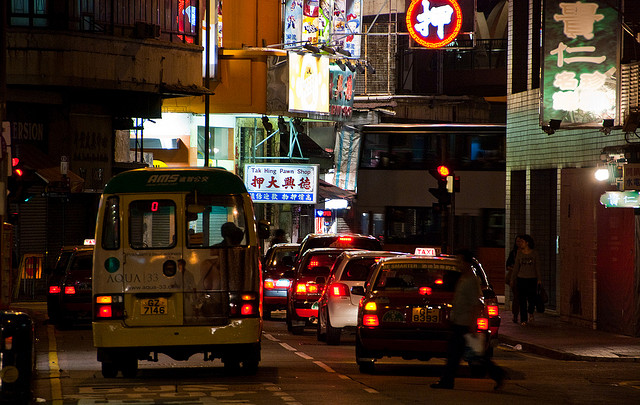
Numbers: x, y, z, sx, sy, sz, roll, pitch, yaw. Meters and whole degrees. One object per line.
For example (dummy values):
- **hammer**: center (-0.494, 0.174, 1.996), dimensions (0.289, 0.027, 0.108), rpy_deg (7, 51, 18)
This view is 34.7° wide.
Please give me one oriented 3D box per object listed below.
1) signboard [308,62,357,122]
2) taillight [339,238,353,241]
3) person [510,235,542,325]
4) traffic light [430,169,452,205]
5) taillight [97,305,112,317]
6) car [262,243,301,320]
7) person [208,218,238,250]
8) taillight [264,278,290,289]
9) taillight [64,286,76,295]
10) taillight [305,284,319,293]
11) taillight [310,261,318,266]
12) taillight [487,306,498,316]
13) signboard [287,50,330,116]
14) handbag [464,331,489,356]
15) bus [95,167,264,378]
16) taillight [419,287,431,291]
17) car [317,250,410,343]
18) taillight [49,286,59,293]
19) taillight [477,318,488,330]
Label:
- **signboard**: center (0.506, -5.547, 51.117), dimensions (1.622, 2.937, 3.044), rpy_deg (0, -2, 22)
- **taillight**: center (0.742, 1.084, 29.927), dimensions (0.362, 0.075, 0.086), rpy_deg (-2, 0, -2)
- **person**: center (5.908, 2.234, 29.614), dimensions (0.813, 2.540, 0.608), rpy_deg (-2, 0, 7)
- **traffic light**: center (3.760, -0.475, 31.540), dimensions (0.564, 1.076, 0.416), rpy_deg (-2, 0, 7)
- **taillight**: center (-4.269, 2.155, 20.541), dimensions (0.353, 0.310, 0.195), rpy_deg (0, -2, 4)
- **car**: center (-1.076, 2.045, 33.333), dimensions (1.635, 1.850, 4.072), rpy_deg (0, 13, -1)
- **person**: center (-1.901, 0.627, 20.859), dimensions (0.782, 0.639, 0.447), rpy_deg (2, 2, 3)
- **taillight**: center (-1.339, 2.483, 31.386), dimensions (0.657, 0.324, 0.370), rpy_deg (-2, 2, 1)
- **taillight**: center (-7.063, 2.495, 29.127), dimensions (0.222, 0.168, 0.225), rpy_deg (0, 3, 6)
- **taillight**: center (-0.212, 2.311, 27.658), dimensions (0.347, 0.307, 0.192), rpy_deg (2, -10, 0)
- **taillight**: center (-0.159, 1.668, 27.959), dimensions (0.232, 0.121, 0.039), rpy_deg (-2, 0, -19)
- **taillight**: center (3.805, 2.386, 22.616), dimensions (0.262, 0.265, 0.100), rpy_deg (1, 1, -7)
- **signboard**: center (-0.654, -5.836, 49.538), dimensions (3.055, 3.886, 0.059), rpy_deg (-3, 9, -40)
- **handbag**: center (3.123, 2.681, 20.055), dimensions (0.348, 0.535, 0.343), rpy_deg (0, 6, -2)
- **bus**: center (-2.942, 1.287, 22.597), dimensions (2.709, 2.811, 4.380), rpy_deg (0, 1, -4)
- **taillight**: center (2.173, 1.801, 21.274), dimensions (0.226, 0.065, 0.066), rpy_deg (-2, 0, -7)
- **car**: center (1.386, 2.258, 26.627), dimensions (2.320, 2.069, 4.195), rpy_deg (2, 4, 6)
- **taillight**: center (-7.651, 2.516, 29.627), dimensions (0.110, 0.184, 0.480), rpy_deg (-2, 0, -43)
- **taillight**: center (3.362, 2.525, 21.325), dimensions (0.274, 0.234, 0.081), rpy_deg (-2, 0, -31)
